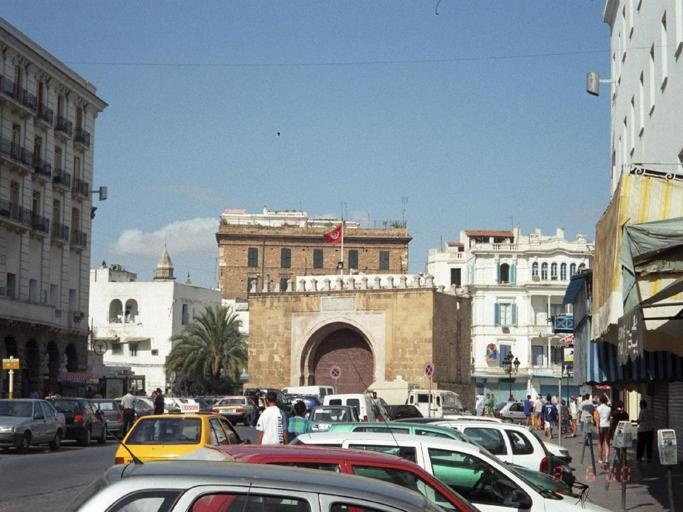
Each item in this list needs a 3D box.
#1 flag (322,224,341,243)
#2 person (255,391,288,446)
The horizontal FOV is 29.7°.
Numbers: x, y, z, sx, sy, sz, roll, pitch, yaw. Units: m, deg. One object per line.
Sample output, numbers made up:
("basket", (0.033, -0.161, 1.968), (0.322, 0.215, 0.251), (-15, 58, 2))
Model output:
("flag", (-0.701, -1.616, 93.668), (1.379, 1.560, 0.157), (6, 16, 13))
("person", (-1.895, 4.371, 34.793), (0.754, 1.400, 0.743), (-7, -8, 8))
